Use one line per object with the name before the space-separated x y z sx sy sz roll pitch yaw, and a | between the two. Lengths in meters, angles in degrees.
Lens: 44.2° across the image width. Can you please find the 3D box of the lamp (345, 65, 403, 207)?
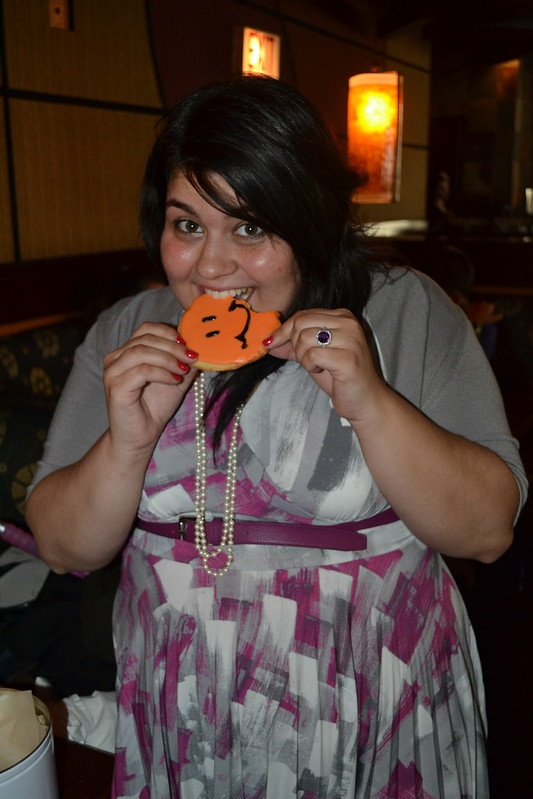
lamp | 0.515 -1.393 3.520 0.346 0.673 0.237 -12 24 -20
